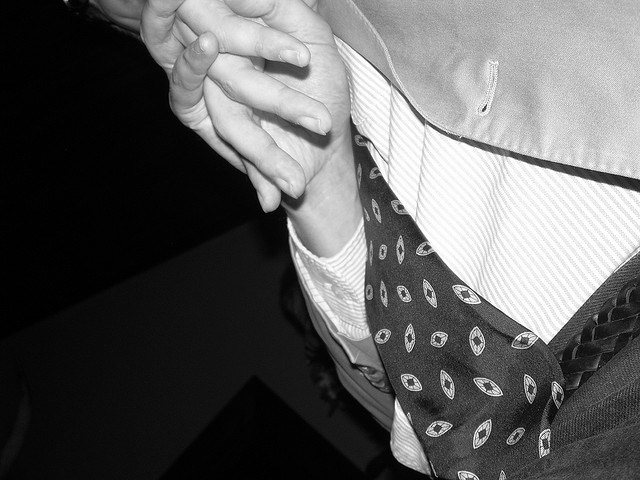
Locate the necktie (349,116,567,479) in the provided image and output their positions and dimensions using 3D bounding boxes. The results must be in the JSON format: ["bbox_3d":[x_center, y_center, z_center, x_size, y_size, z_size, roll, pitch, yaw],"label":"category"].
[{"bbox_3d":[0.173,0.074,0.764,0.140,0.563,0.043,-31,-17,34],"label":"necktie"}]

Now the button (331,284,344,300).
[{"bbox_3d":[0.026,0.077,0.832,0.004,0.021,0.020,-23,-2,-35],"label":"button"}]

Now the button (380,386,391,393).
[{"bbox_3d":[0.103,0.237,0.890,0.012,0.003,0.013,-10,-47,32],"label":"button"}]
